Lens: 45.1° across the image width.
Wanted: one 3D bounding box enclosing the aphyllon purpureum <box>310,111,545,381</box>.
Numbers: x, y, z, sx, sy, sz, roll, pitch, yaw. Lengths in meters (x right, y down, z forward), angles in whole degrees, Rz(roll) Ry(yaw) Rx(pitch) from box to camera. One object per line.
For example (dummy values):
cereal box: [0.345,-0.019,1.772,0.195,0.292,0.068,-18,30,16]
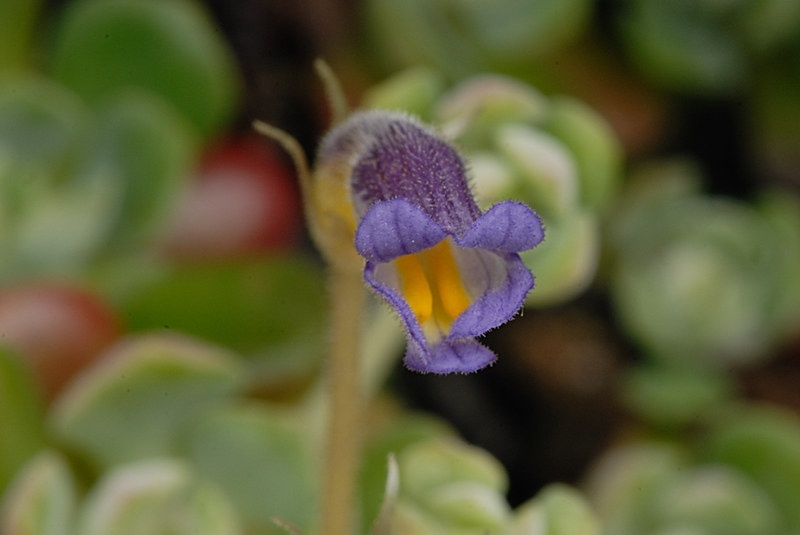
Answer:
aphyllon purpureum: [0.059,0.022,1.441,0.233,0.439,0.224,3,92,-2]
